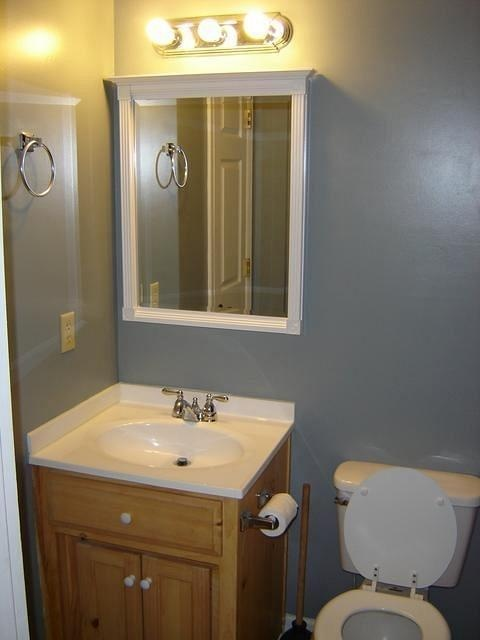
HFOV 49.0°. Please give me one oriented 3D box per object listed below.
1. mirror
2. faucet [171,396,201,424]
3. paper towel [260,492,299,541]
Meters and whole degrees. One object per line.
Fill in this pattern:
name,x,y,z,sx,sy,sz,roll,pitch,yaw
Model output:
mirror,-0.089,-0.437,1.814,0.733,1.049,0.100,3,10,14
faucet,-0.188,0.316,1.834,0.095,0.082,0.063,2,2,28
paper towel,0.105,0.547,1.487,0.075,0.072,0.178,5,11,24
